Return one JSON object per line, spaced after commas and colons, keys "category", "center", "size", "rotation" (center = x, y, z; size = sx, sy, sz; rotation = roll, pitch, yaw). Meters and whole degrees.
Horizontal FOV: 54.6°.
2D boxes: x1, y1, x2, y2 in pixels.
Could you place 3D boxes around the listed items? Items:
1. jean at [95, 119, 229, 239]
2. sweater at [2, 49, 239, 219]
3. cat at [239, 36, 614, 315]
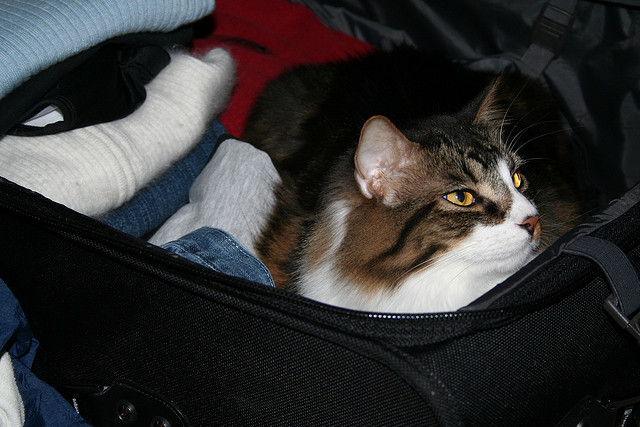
{"category": "jean", "center": [-0.374, -0.031, 1.561], "size": [0.264, 0.087, 0.279], "rotation": [10, 48, 40]}
{"category": "sweater", "center": [-0.439, -0.168, 1.429], "size": [0.375, 0.147, 0.393], "rotation": [24, 51, 34]}
{"category": "cat", "center": [0.188, -0.145, 1.533], "size": [0.725, 0.317, 0.709], "rotation": [-20, 44, -19]}
